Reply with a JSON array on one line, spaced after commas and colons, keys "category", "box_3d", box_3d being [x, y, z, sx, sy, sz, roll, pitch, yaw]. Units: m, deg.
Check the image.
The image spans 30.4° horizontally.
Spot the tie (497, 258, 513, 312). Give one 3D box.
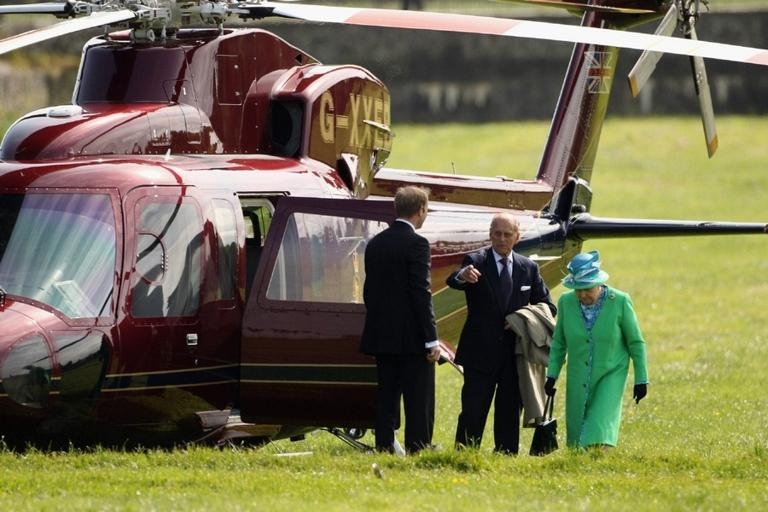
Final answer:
[{"category": "tie", "box_3d": [1.395, 0.345, 15.770, 0.151, 0.624, 0.063, 6, 11, 31]}]

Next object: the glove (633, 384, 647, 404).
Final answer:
[{"category": "glove", "box_3d": [2.834, 1.513, 15.505, 0.118, 0.156, 0.217, 1, 1, 3]}]

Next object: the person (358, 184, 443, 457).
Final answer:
[{"category": "person", "box_3d": [0.207, 0.709, 15.518, 0.873, 2.931, 0.278, 1, 1, 1]}]

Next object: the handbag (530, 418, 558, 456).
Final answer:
[{"category": "handbag", "box_3d": [1.793, 2.017, 15.656, 0.226, 0.428, 0.440, -2, 5, 33]}]

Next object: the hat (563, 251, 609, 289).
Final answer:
[{"category": "hat", "box_3d": [2.223, 0.178, 15.639, 0.437, 0.287, 0.437, -9, 1, 1]}]
